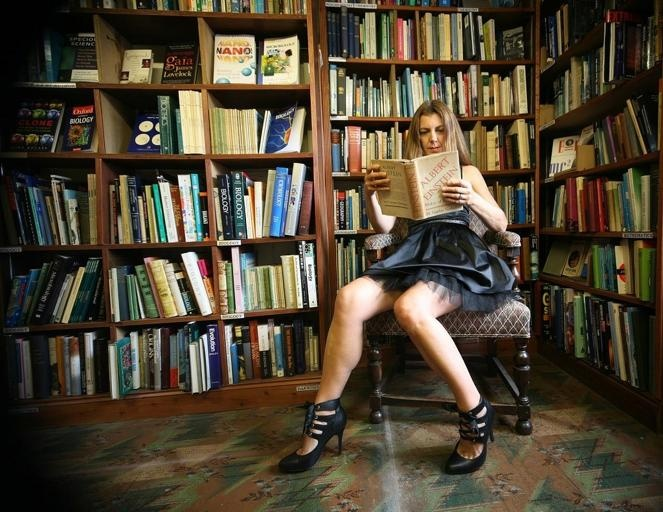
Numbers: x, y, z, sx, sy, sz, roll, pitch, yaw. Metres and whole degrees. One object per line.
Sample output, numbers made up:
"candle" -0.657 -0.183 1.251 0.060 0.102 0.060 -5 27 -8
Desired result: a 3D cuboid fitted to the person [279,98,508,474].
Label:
"person" 0.362 0.069 2.346 0.788 1.614 0.970 -1 8 29
